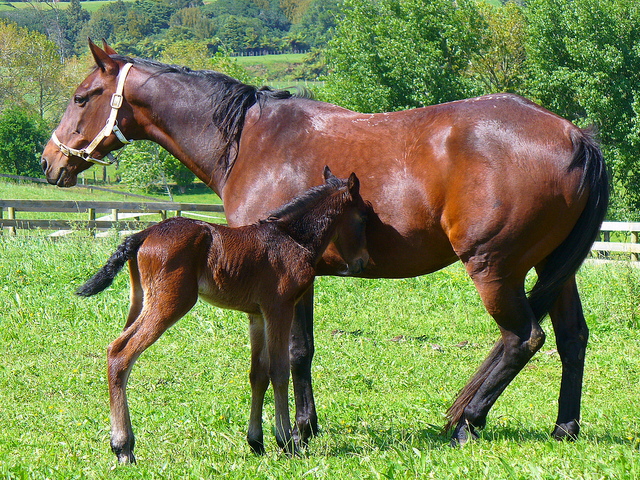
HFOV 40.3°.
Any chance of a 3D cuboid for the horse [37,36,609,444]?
[{"bbox_3d":[-0.536,-0.095,14.813,10.992,8.328,3.251,0,-3,11],"label":"horse"}]
